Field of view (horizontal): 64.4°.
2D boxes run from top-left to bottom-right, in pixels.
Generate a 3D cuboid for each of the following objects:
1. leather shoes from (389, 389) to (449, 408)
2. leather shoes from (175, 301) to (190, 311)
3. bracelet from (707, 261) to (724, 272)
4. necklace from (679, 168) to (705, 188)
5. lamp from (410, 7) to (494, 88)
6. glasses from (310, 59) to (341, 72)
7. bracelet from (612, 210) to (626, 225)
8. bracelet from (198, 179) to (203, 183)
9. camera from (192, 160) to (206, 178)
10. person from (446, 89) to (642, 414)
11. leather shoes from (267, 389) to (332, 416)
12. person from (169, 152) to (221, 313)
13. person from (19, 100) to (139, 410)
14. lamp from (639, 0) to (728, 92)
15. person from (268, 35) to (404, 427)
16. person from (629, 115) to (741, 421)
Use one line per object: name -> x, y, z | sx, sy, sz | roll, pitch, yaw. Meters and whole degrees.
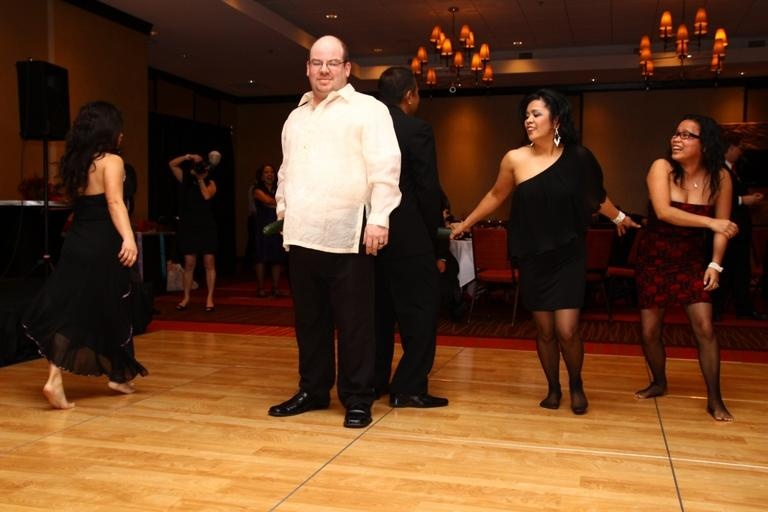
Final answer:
leather shoes -> 0.226, 0.920, 4.031 | 0.362, 0.136, 0.129 | -2, -1, -4
leather shoes -> -2.482, 0.625, 7.537 | 0.111, 0.069, 0.276 | 1, -1, 1
bracelet -> 2.060, 0.080, 3.793 | 0.097, 0.073, 0.048 | 9, -32, -5
necklace -> 1.967, -0.488, 3.869 | 0.115, 0.110, 0.034 | 17, 4, 14
lamp -> 1.089, -3.340, 9.444 | 1.410, 1.245, 1.417 | 0, 0, 4
glasses -> -0.333, -1.096, 3.525 | 0.185, 0.065, 0.027 | 0, 9, -3
bracelet -> 1.586, -0.268, 4.111 | 0.053, 0.098, 0.077 | 27, -14, 9
bracelet -> -2.229, -0.898, 7.435 | 0.037, 0.032, 0.036 | 0, -4, 5
camera -> -2.255, -1.037, 7.459 | 0.224, 0.213, 0.142 | -4, 0, -28
person -> 1.013, -0.035, 3.943 | 0.735, 2.028, 0.385 | 3, 9, 18
leather shoes -> -0.517, 0.929, 3.914 | 0.434, 0.151, 0.143 | 2, -3, -27
person -> -2.333, -0.291, 7.499 | 0.543, 1.853, 0.608 | 0, 9, 0
person -> -1.972, -0.016, 4.007 | 0.671, 1.965, 0.379 | -4, 10, -25
lamp -> 4.603, -3.280, 9.406 | 1.294, 0.883, 1.266 | 1, -1, -32
person -> -0.302, -0.127, 3.633 | 0.786, 2.275, 0.327 | 3, 9, 18
person -> 1.922, 0.061, 3.876 | 0.598, 1.861, 0.395 | 4, 10, 22
